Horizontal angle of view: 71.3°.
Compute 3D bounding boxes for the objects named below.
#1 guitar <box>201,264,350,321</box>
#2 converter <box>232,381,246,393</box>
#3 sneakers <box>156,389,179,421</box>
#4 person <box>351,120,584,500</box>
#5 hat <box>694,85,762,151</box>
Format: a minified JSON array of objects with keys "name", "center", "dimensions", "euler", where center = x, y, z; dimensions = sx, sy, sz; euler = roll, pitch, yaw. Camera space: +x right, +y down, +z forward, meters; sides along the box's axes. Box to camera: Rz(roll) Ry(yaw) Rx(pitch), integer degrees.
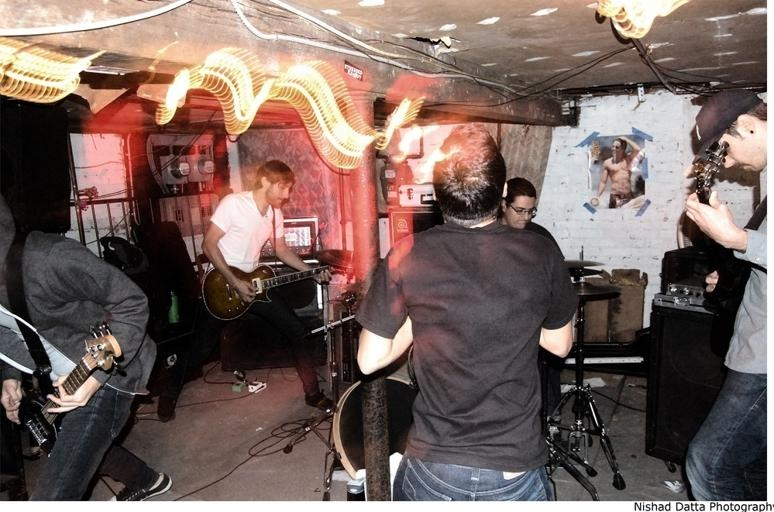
[{"name":"guitar","center":[-1.239,0.276,6.072],"dimensions":[0.231,0.630,1.687],"euler":[-34,-9,38]},{"name":"converter","center":[-1.724,1.518,6.237],"dimensions":[0.101,0.087,0.145],"euler":[0,4,12]},{"name":"sneakers","center":[-2.309,1.571,5.629],"dimensions":[0.156,0.328,0.146],"euler":[-1,-2,-8]},{"name":"person","center":[0.411,0.332,2.811],"dimensions":[1.038,1.990,0.581],"euler":[3,12,21]},{"name":"hat","center":[2.067,-0.818,3.269],"dimensions":[0.334,0.372,0.194],"euler":[5,13,29]}]
